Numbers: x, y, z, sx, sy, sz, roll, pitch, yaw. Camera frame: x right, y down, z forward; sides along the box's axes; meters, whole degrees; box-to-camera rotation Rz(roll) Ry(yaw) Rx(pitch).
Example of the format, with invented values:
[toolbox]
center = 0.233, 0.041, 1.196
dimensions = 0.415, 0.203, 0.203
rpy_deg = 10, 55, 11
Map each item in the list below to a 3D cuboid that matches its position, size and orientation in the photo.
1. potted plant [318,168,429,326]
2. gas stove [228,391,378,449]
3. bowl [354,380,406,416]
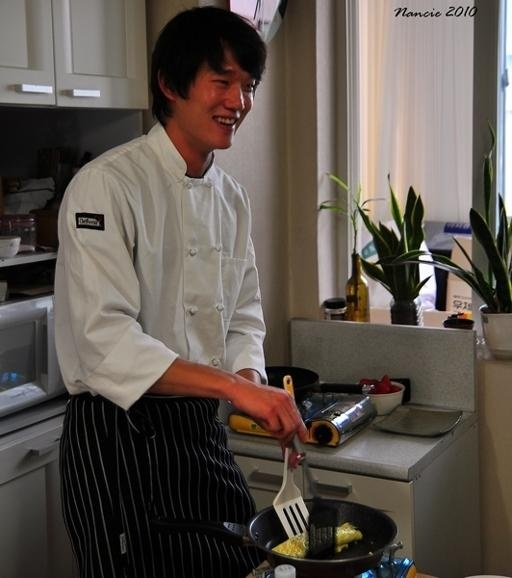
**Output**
[potted plant]
center = 0.396, -0.168, 2.043
dimensions = 0.447, 0.823, 0.512
rpy_deg = -1, 12, 4
[gas stove]
center = 0.160, 0.426, 1.669
dimensions = 0.445, 0.132, 0.483
rpy_deg = 1, -6, -42
[bowl]
center = 0.413, 0.339, 1.656
dimensions = 0.142, 0.114, 0.166
rpy_deg = -1, -1, -2
